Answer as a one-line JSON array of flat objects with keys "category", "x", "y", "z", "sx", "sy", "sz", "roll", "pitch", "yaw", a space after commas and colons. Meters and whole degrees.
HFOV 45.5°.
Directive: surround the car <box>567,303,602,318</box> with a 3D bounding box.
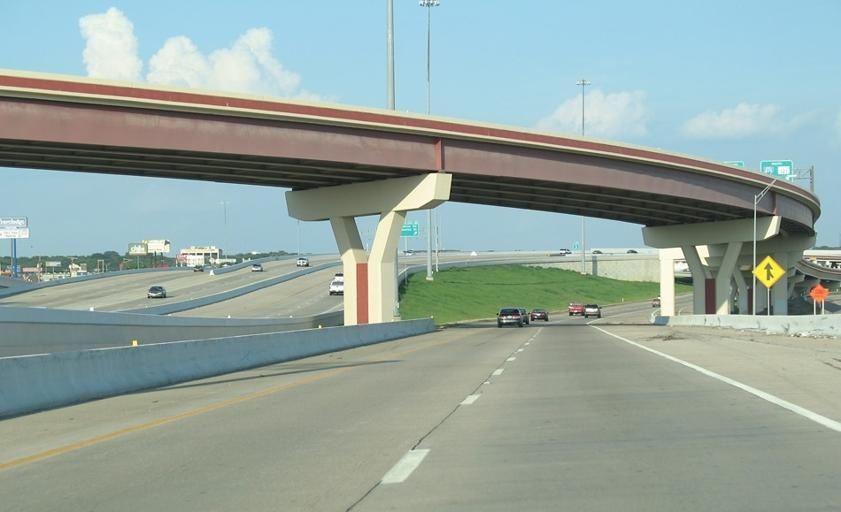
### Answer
[{"category": "car", "x": 18.098, "y": 6.182, "z": 108.826, "sx": 1.776, "sy": 0.870, "sz": 3.037, "roll": 1, "pitch": 1, "yaw": 29}]
